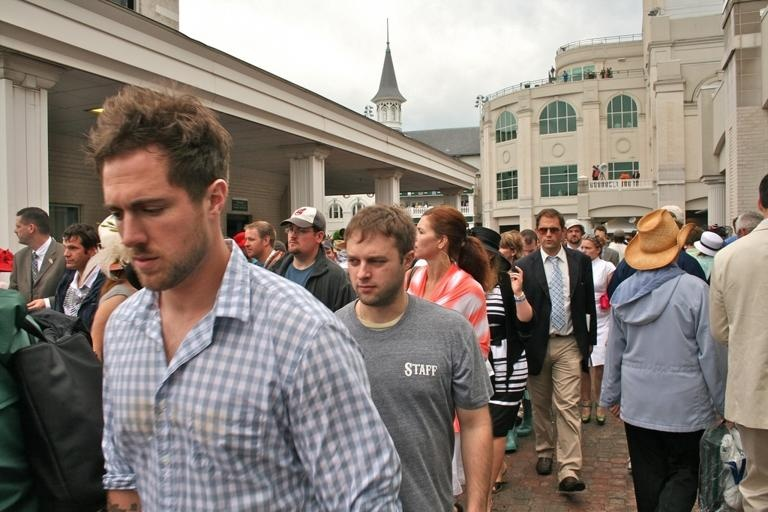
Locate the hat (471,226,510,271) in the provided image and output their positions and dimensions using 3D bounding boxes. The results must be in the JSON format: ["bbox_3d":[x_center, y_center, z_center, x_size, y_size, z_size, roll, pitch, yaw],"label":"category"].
[{"bbox_3d":[1.166,-0.064,9.051,0.419,0.496,0.946,2,3,21],"label":"hat"}]

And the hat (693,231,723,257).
[{"bbox_3d":[4.359,-0.225,11.065,0.376,0.227,0.436,-8,12,4],"label":"hat"}]

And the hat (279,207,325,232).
[{"bbox_3d":[-0.889,-0.423,9.467,0.406,0.207,0.279,9,-7,-36],"label":"hat"}]

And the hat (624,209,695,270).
[{"bbox_3d":[2.761,-0.170,8.387,0.579,0.630,0.459,1,4,15],"label":"hat"}]
